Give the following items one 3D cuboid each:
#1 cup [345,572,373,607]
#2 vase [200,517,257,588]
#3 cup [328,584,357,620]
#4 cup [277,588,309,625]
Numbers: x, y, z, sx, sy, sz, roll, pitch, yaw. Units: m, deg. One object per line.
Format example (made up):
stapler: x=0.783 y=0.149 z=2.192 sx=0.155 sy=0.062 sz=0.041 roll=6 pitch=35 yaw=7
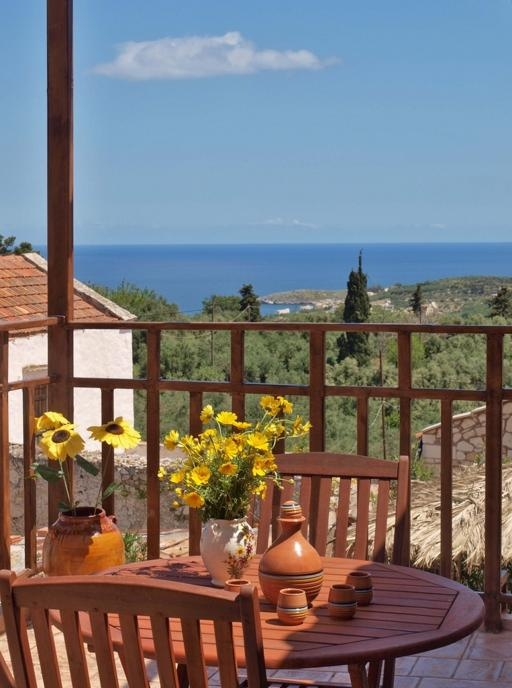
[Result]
cup: x=0.177 y=0.418 z=1.361 sx=0.049 sy=0.049 sz=0.049 roll=2 pitch=-4 yaw=0
vase: x=-0.054 y=0.391 z=1.510 sx=0.106 sy=0.126 sz=0.109 roll=0 pitch=1 yaw=-18
cup: x=0.137 y=0.416 z=1.273 sx=0.047 sy=0.049 sz=0.048 roll=-1 pitch=1 yaw=0
cup: x=0.058 y=0.416 z=1.257 sx=0.048 sy=0.046 sz=0.048 roll=1 pitch=-3 yaw=0
